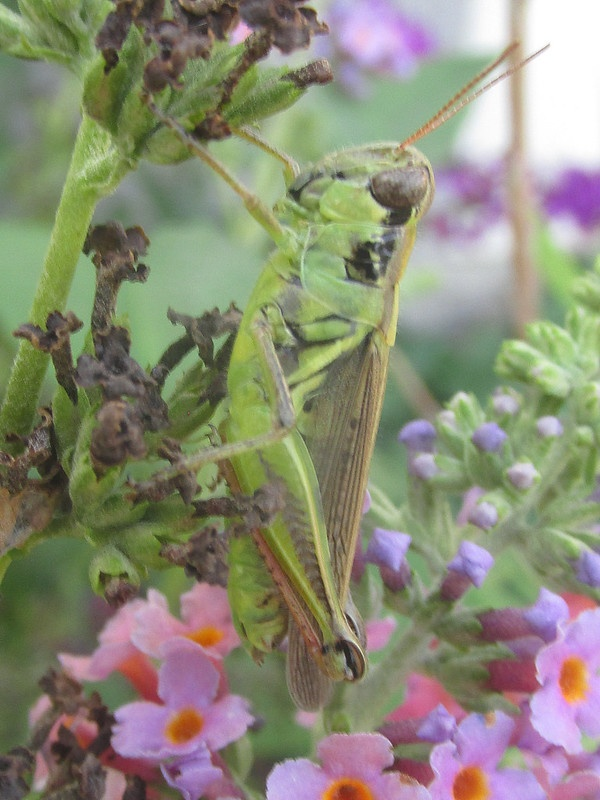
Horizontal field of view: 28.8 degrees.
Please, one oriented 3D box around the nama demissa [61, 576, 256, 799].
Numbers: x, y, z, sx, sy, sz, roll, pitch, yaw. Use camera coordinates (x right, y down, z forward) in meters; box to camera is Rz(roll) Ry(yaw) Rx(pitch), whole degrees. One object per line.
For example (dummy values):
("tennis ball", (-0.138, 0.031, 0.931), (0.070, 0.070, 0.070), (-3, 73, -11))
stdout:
("nama demissa", (-0.207, 0.410, 1.596), (0.282, 0.261, 0.135), (-15, -12, -47))
